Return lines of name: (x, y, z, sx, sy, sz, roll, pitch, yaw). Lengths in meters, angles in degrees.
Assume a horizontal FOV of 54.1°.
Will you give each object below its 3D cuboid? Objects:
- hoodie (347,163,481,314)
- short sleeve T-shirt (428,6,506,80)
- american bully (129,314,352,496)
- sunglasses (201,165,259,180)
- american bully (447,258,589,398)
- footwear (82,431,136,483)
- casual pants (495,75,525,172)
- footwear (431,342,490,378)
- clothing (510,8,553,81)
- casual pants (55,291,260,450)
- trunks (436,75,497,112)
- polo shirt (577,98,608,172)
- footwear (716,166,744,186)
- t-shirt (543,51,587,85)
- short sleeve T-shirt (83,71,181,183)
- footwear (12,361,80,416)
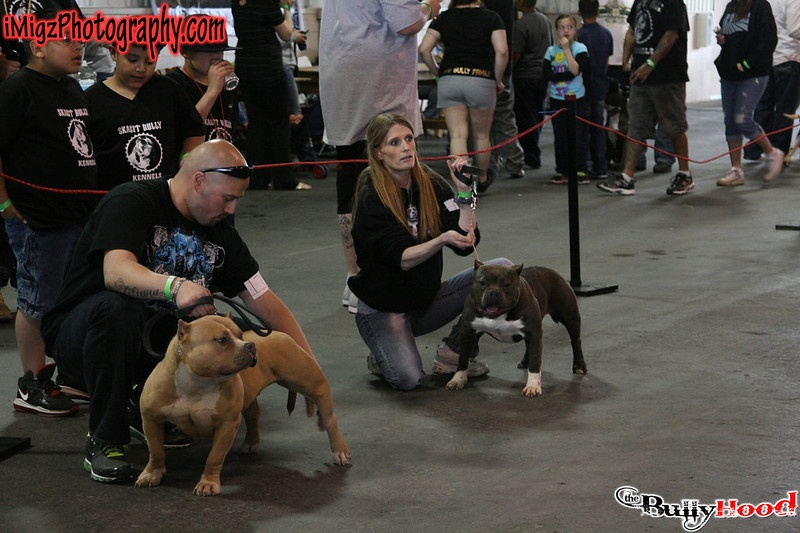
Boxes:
hoodie: (0.097, -0.176, 4.881, 0.807, 0.882, 0.819, -4, 8, 5)
short sleeve T-shirt: (0.790, -2.601, 9.116, 1.032, 0.878, 0.543, 2, 8, 14)
american bully: (-0.802, 0.594, 3.768, 0.614, 0.674, 1.106, -2, -9, 20)
sunglasses: (-0.810, -0.450, 3.736, 0.253, 0.067, 0.124, -10, 16, -27)
american bully: (0.720, 0.314, 4.724, 0.799, 0.783, 0.518, -15, 19, -39)
footwear: (-1.426, 0.926, 3.792, 0.133, 0.155, 0.356, 2, 0, -40)
casual pants: (1.593, -2.109, 11.344, 0.498, 1.785, 0.517, -1, 52, 13)
footwear: (0.352, 0.596, 4.953, 0.396, 0.247, 0.149, -1, 5, 13)
clothing: (2.001, -3.397, 11.833, 0.943, 0.827, 0.400, -21, 27, -31)
casual pants: (-1.099, 0.596, 3.633, 0.487, 0.617, 1.389, 2, -9, -42)
trunks: (0.834, -2.089, 9.314, 0.820, 0.498, 0.559, 8, 8, 25)
polo shirt: (2.758, -1.953, 11.254, 0.410, 1.235, 0.311, -10, 4, -12)
footwear: (4.442, -1.192, 10.478, 0.477, 0.269, 0.186, 0, 5, 3)
t-shirt: (2.201, -2.636, 10.634, 0.643, 0.552, 0.347, 8, 0, 5)
short sleeve T-shirt: (-1.631, -0.848, 4.827, 0.614, 0.652, 0.378, -8, 42, -20)
footwear: (-1.961, 0.713, 4.547, 0.502, 0.306, 0.184, 5, 3, 6)
